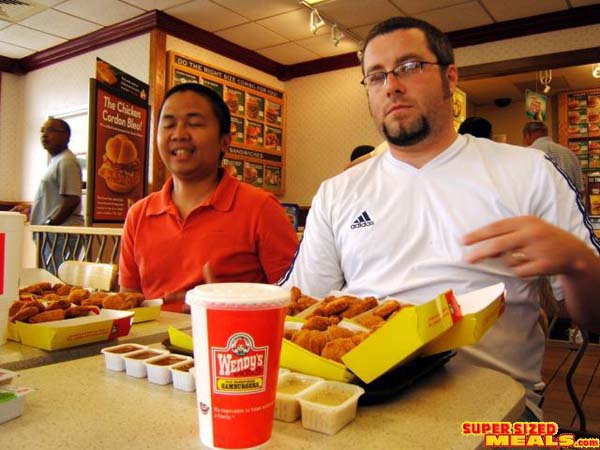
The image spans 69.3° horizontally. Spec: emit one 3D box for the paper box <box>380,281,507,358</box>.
[{"bbox_3d":[0.351,0.179,1.046,0.201,0.053,0.204,-34,-11,27],"label":"paper box"}]

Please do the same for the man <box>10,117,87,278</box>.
[{"bbox_3d":[-2.601,-0.361,4.640,0.513,1.646,1.509,-1,3,-32],"label":"man"}]

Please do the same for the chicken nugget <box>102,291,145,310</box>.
[{"bbox_3d":[-0.626,0.268,1.528,0.070,0.032,0.114,0,3,-12],"label":"chicken nugget"}]

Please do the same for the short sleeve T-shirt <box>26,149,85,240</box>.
[{"bbox_3d":[-2.822,-0.290,5.100,0.709,1.214,1.050,4,-4,-37],"label":"short sleeve T-shirt"}]

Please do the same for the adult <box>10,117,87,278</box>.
[{"bbox_3d":[-2.646,-0.365,4.711,0.513,1.646,2.205,-1,3,-32],"label":"adult"}]
